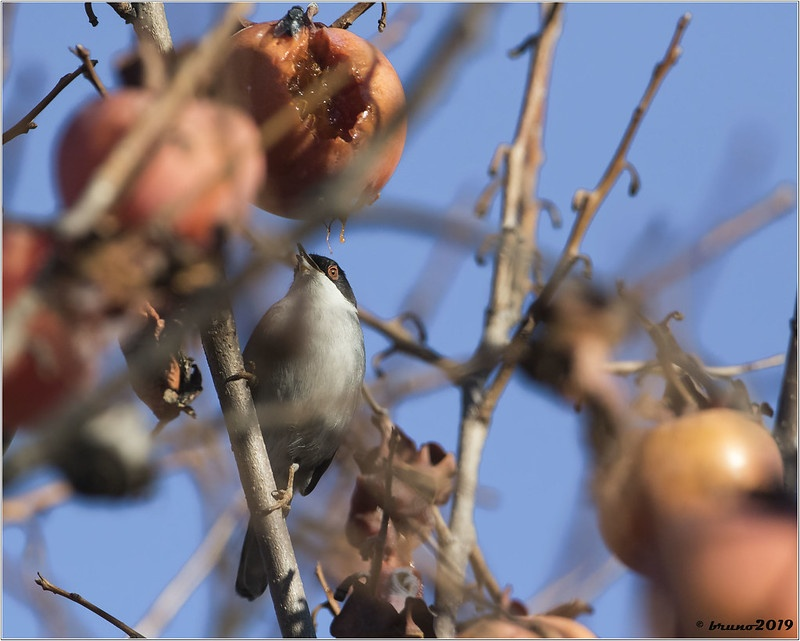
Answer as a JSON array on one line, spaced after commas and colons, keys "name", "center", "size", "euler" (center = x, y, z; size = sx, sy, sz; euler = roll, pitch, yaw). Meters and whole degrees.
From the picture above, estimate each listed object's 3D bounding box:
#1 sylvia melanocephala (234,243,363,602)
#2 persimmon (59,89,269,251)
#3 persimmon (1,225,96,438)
[{"name": "sylvia melanocephala", "center": [-0.276, 0.162, 3.807], "size": [0.347, 1.188, 0.654], "euler": [4, 10, -8]}, {"name": "persimmon", "center": [-0.486, -0.288, 2.652], "size": [0.428, 0.275, 0.373], "euler": [1, -2, -3]}, {"name": "persimmon", "center": [-0.716, 0.028, 2.627], "size": [0.208, 0.422, 0.102], "euler": [6, 3, 22]}]
